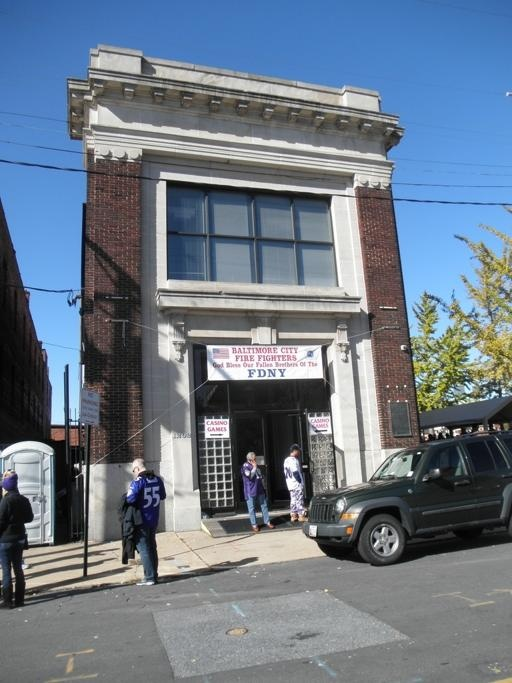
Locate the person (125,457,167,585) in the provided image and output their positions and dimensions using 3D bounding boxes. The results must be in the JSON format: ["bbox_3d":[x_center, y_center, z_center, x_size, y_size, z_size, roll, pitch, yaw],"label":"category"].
[{"bbox_3d":[-1.514,2.480,8.880,0.446,1.705,0.622,-9,-13,12],"label":"person"}]

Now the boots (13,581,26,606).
[{"bbox_3d":[-2.931,3.065,7.911,0.118,0.385,0.209,-2,-13,-19],"label":"boots"}]

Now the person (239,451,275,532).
[{"bbox_3d":[-0.027,3.106,13.261,0.477,1.610,0.901,-9,-13,12],"label":"person"}]

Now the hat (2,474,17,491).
[{"bbox_3d":[-3.246,1.838,8.334,0.163,0.239,0.235,4,-12,-8],"label":"hat"}]
